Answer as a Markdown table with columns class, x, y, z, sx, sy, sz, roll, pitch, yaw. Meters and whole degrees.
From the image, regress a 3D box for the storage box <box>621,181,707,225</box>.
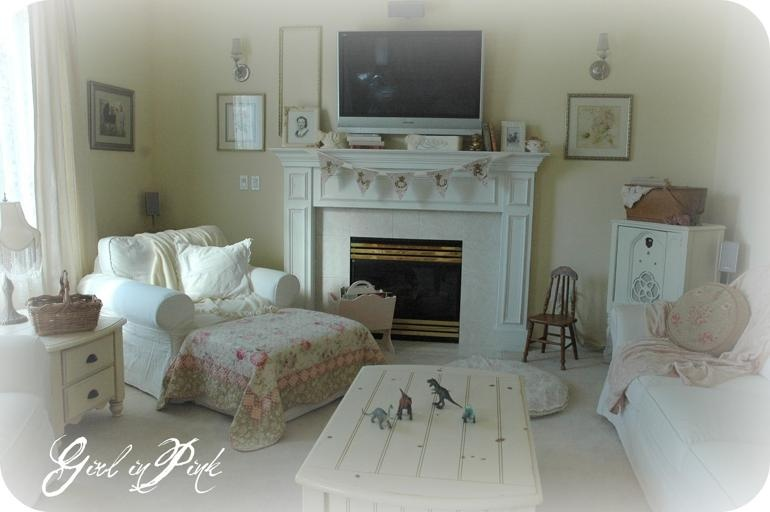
| class | x | y | z | sx | sy | sz | roll | pitch | yaw |
| --- | --- | --- | --- | --- | --- | --- | --- | --- | --- |
| storage box | 2.284 | -0.425 | 4.768 | 0.616 | 0.317 | 0.301 | 3 | 10 | 22 |

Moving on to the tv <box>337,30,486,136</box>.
| class | x | y | z | sx | sy | sz | roll | pitch | yaw |
| --- | --- | --- | --- | --- | --- | --- | --- | --- | --- |
| tv | 0.280 | -1.579 | 5.183 | 0.962 | 0.657 | 0.098 | 0 | 10 | 4 |

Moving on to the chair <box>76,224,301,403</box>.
| class | x | y | z | sx | sy | sz | roll | pitch | yaw |
| --- | --- | --- | --- | --- | --- | --- | --- | --- | --- |
| chair | -1.599 | 0.251 | 4.687 | 1.269 | 1.199 | 1.625 | 5 | 10 | 36 |

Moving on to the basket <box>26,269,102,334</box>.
| class | x | y | z | sx | sy | sz | roll | pitch | yaw |
| --- | --- | --- | --- | --- | --- | --- | --- | --- | --- |
| basket | -2.112 | 0.264 | 3.800 | 0.437 | 0.399 | 0.426 | -1 | 4 | -31 |

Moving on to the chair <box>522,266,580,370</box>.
| class | x | y | z | sx | sy | sz | roll | pitch | yaw |
| --- | --- | --- | --- | --- | --- | --- | --- | --- | --- |
| chair | 1.483 | 0.511 | 5.122 | 0.467 | 0.815 | 0.696 | 3 | 10 | 19 |

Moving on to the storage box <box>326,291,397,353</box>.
| class | x | y | z | sx | sy | sz | roll | pitch | yaw |
| --- | --- | --- | --- | --- | --- | --- | --- | --- | --- |
| storage box | -0.227 | 0.535 | 5.256 | 0.590 | 0.565 | 0.517 | -1 | 2 | -11 |

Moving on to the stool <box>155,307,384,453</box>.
| class | x | y | z | sx | sy | sz | roll | pitch | yaw |
| --- | --- | --- | --- | --- | --- | --- | --- | --- | --- |
| stool | -0.950 | 0.725 | 4.174 | 0.940 | 0.453 | 1.072 | 3 | 9 | 36 |

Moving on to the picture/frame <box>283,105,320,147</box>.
| class | x | y | z | sx | sy | sz | roll | pitch | yaw |
| --- | --- | --- | --- | --- | --- | --- | --- | --- | --- |
| picture/frame | -0.776 | -1.193 | 5.373 | 0.399 | 0.413 | 0.043 | 0 | 1 | 0 |

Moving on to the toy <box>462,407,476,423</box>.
| class | x | y | z | sx | sy | sz | roll | pitch | yaw |
| --- | --- | --- | --- | --- | --- | --- | --- | --- | --- |
| toy | 0.463 | 0.885 | 3.183 | 0.060 | 0.062 | 0.090 | 0 | -8 | 4 |

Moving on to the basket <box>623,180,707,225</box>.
| class | x | y | z | sx | sy | sz | roll | pitch | yaw |
| --- | --- | --- | --- | --- | --- | --- | --- | --- | --- |
| basket | 2.284 | -0.425 | 4.768 | 0.616 | 0.317 | 0.301 | 3 | 10 | 22 |

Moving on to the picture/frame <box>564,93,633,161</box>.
| class | x | y | z | sx | sy | sz | roll | pitch | yaw |
| --- | --- | --- | --- | --- | --- | --- | --- | --- | --- |
| picture/frame | 1.926 | -1.172 | 5.172 | 0.592 | 0.598 | 0.053 | 1 | 4 | 5 |

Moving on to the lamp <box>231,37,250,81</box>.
| class | x | y | z | sx | sy | sz | roll | pitch | yaw |
| --- | --- | --- | --- | --- | --- | --- | --- | --- | --- |
| lamp | -1.360 | -1.832 | 5.418 | 0.176 | 0.405 | 0.114 | 0 | 10 | -1 |

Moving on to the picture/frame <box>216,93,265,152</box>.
| class | x | y | z | sx | sy | sz | roll | pitch | yaw |
| --- | --- | --- | --- | --- | --- | --- | --- | --- | --- |
| picture/frame | -1.362 | -1.293 | 5.506 | 0.554 | 0.608 | 0.064 | 0 | 3 | 4 |

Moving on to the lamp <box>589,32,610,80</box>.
| class | x | y | z | sx | sy | sz | roll | pitch | yaw |
| --- | --- | --- | --- | --- | --- | --- | --- | --- | --- |
| lamp | 1.866 | -1.732 | 5.007 | 0.178 | 0.398 | 0.264 | 3 | 10 | 18 |
